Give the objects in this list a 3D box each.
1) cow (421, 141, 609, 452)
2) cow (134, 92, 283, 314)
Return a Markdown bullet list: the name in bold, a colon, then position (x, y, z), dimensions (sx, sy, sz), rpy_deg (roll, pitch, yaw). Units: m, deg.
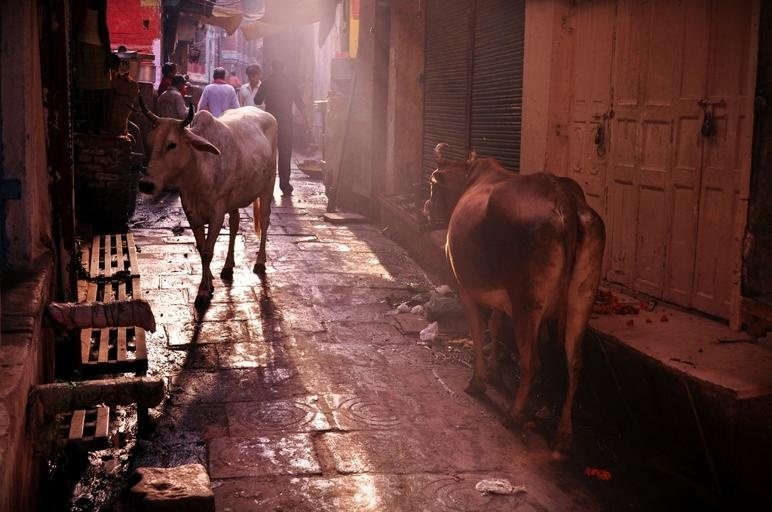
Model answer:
- **cow**: position (1.002, 0.313, 4.743), dimensions (0.679, 2.032, 1.652), rpy_deg (-5, 16, -24)
- **cow**: position (-2.156, -0.877, 7.740), dimensions (0.897, 2.366, 2.421), rpy_deg (6, 16, 17)
